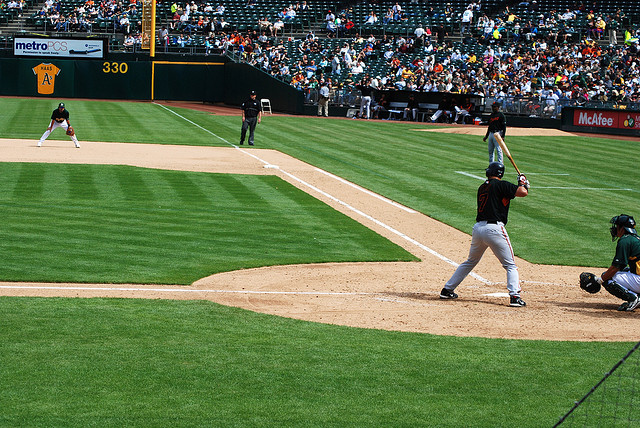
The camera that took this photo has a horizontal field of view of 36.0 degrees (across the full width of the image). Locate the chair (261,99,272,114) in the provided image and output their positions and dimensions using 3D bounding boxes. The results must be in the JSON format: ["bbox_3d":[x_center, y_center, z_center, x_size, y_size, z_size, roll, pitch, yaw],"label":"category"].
[{"bbox_3d":[-3.156,-6.371,57.606,0.548,0.750,1.218,3,9,-3],"label":"chair"}]

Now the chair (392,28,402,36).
[{"bbox_3d":[4.684,-11.356,61.118,0.583,0.526,0.471,1,0,3],"label":"chair"}]

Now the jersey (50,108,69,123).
[{"bbox_3d":[-9.566,-3.659,36.479,0.537,0.489,0.455,1,10,-14],"label":"jersey"}]

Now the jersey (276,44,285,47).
[{"bbox_3d":[-2.465,-10.508,61.122,0.384,0.078,0.351,-2,6,20],"label":"jersey"}]

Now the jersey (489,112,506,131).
[{"bbox_3d":[5.848,-3.118,32.920,0.469,0.643,0.384,5,10,8],"label":"jersey"}]

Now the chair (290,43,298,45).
[{"bbox_3d":[-1.654,-10.587,61.152,0.460,0.175,0.222,3,9,3],"label":"chair"}]

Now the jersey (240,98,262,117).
[{"bbox_3d":[-2.676,-4.177,38.306,0.353,0.722,0.815,9,11,26],"label":"jersey"}]

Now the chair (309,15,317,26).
[{"bbox_3d":[-0.489,-12.593,63.680,0.746,0.714,0.634,1,8,7],"label":"chair"}]

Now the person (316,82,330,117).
[{"bbox_3d":[0.135,-6.512,56.014,0.612,1.793,1.092,4,10,-1],"label":"person"}]

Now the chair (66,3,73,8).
[{"bbox_3d":[-16.505,-13.902,65.277,0.402,0.309,0.357,1,10,-13],"label":"chair"}]

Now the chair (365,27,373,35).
[{"bbox_3d":[2.912,-11.405,61.249,0.470,0.481,0.477,0,0,1],"label":"chair"}]

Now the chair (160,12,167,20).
[{"bbox_3d":[-10.236,-13.093,64.672,0.464,0.424,0.264,1,11,-15],"label":"chair"}]

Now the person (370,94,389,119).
[{"bbox_3d":[3.274,-6.030,54.877,0.898,1.359,0.324,11,13,34],"label":"person"}]

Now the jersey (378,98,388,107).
[{"bbox_3d":[3.408,-6.273,54.753,0.485,0.426,0.178,10,12,36],"label":"jersey"}]

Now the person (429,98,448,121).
[{"bbox_3d":[6.322,-5.637,52.775,0.804,1.249,0.219,8,12,24],"label":"person"}]

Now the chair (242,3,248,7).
[{"bbox_3d":[-4.939,-13.844,64.809,0.327,0.230,0.302,2,9,-6],"label":"chair"}]

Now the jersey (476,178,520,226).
[{"bbox_3d":[4.144,-0.250,23.246,0.563,1.023,1.601,0,5,-37],"label":"jersey"}]

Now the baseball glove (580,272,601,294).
[{"bbox_3d":[6.137,1.605,22.657,0.518,0.267,0.376,36,-17,-23],"label":"baseball glove"}]

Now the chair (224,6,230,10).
[{"bbox_3d":[-6.115,-13.595,64.612,0.304,0.224,0.316,0,10,-15],"label":"chair"}]

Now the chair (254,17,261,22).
[{"bbox_3d":[-4.052,-12.669,63.676,0.407,0.222,0.350,1,9,-13],"label":"chair"}]

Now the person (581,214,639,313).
[{"bbox_3d":[6.647,1.112,22.255,1.181,2.207,0.578,6,11,11],"label":"person"}]

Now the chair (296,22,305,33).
[{"bbox_3d":[-1.354,-12.070,63.157,0.689,0.713,0.650,0,5,-5],"label":"chair"}]

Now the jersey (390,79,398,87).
[{"bbox_3d":[4.105,-7.382,55.294,0.453,0.428,0.479,0,10,-20],"label":"jersey"}]

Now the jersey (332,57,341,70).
[{"bbox_3d":[0.954,-8.913,57.971,0.338,0.686,0.457,12,13,37],"label":"jersey"}]

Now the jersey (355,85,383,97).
[{"bbox_3d":[2.642,-6.917,55.092,0.999,0.760,0.254,2,12,7],"label":"jersey"}]

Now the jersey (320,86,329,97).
[{"bbox_3d":[0.199,-6.930,55.649,0.840,0.656,0.393,1,3,-3],"label":"jersey"}]
